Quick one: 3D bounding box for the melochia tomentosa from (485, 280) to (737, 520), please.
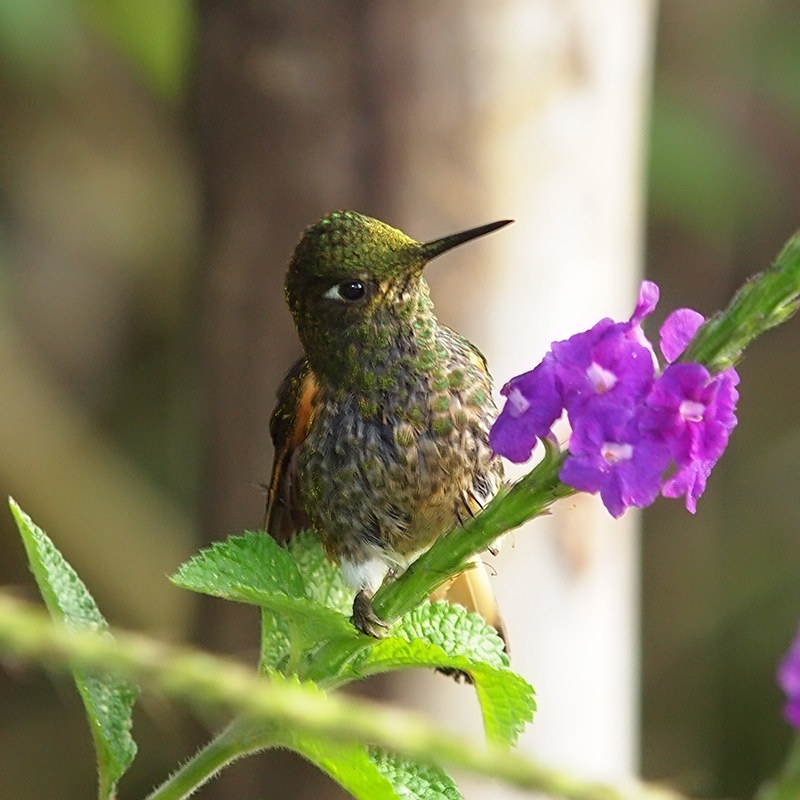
[{"bbox_3d":[0.191,-0.001,1.111,0.179,0.210,0.164,1,41,-20],"label":"melochia tomentosa"}]

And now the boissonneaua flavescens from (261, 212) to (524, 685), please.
[{"bbox_3d":[-0.030,0.005,1.592,0.294,0.575,0.493,-8,11,-13],"label":"boissonneaua flavescens"}]
